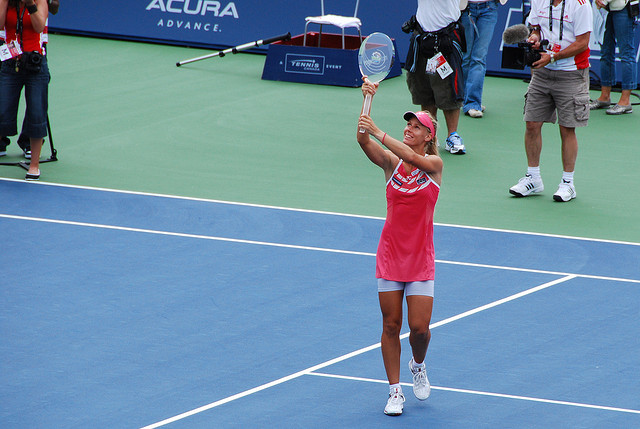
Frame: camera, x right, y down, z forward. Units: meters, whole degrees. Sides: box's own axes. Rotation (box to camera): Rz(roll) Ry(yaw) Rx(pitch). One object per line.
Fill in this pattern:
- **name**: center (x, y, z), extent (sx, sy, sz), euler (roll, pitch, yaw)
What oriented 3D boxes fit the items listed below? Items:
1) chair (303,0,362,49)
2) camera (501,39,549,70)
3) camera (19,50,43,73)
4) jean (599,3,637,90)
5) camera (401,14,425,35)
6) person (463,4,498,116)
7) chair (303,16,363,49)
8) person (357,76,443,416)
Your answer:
- **chair**: center (0.253, -4.185, 17.110), extent (1.249, 1.036, 1.579), euler (1, 16, -1)
- **camera**: center (2.984, -2.335, 11.428), extent (0.631, 0.351, 0.341), euler (-6, 11, -35)
- **camera**: center (-4.256, -2.248, 11.435), extent (0.314, 0.271, 0.296), euler (2, 13, -19)
- **jean**: center (5.857, -3.233, 15.178), extent (0.722, 1.542, 0.548), euler (6, 17, 17)
- **camera**: center (1.604, -3.110, 13.099), extent (0.297, 0.407, 0.194), euler (13, 65, 27)
- **person**: center (3.031, -2.963, 14.997), extent (0.578, 2.098, 0.577), euler (4, 17, 8)
- **chair**: center (0.273, -4.010, 17.140), extent (1.245, 0.683, 1.534), euler (1, 16, -2)
- **person**: center (0.733, 0.290, 7.303), extent (0.806, 3.066, 0.969), euler (1, 17, 0)
